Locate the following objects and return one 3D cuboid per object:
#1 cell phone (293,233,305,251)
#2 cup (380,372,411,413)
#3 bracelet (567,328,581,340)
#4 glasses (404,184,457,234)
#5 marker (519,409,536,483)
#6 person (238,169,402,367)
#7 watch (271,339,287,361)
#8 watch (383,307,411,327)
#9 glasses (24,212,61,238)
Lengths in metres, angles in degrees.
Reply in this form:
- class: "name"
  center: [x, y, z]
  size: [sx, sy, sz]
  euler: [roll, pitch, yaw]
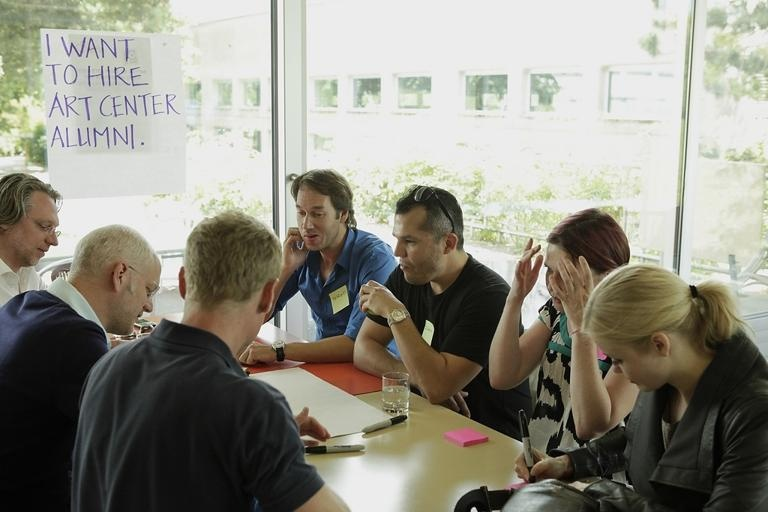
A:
- class: "cell phone"
  center: [-0.507, -0.091, 3.628]
  size: [0.067, 0.092, 0.025]
  euler: [3, 15, -1]
- class: "cup"
  center: [0.030, 0.564, 2.543]
  size: [0.147, 0.163, 0.146]
  euler: [0, -15, 0]
- class: "bracelet"
  center: [0.763, 0.315, 2.476]
  size: [0.047, 0.036, 0.047]
  euler: [-2, 3, -37]
- class: "glasses"
  center: [0.240, -0.231, 2.925]
  size: [0.222, 0.069, 0.216]
  euler: [41, -12, -32]
- class: "marker"
  center: [0.518, 0.695, 2.241]
  size: [0.031, 0.280, 0.031]
  euler: [-9, -8, 17]
- class: "person"
  center: [-0.377, 0.276, 3.573]
  size: [0.859, 1.459, 0.725]
  euler: [-2, -1, -6]
- class: "watch"
  center: [-0.498, 0.445, 2.977]
  size: [0.057, 0.090, 0.091]
  euler: [0, -13, -1]
- class: "watch"
  center: [0.057, 0.270, 2.789]
  size: [0.095, 0.058, 0.090]
  euler: [-21, -19, -17]
- class: "glasses"
  center: [-1.766, -0.157, 3.180]
  size: [0.143, 0.057, 0.115]
  euler: [20, 14, 39]
